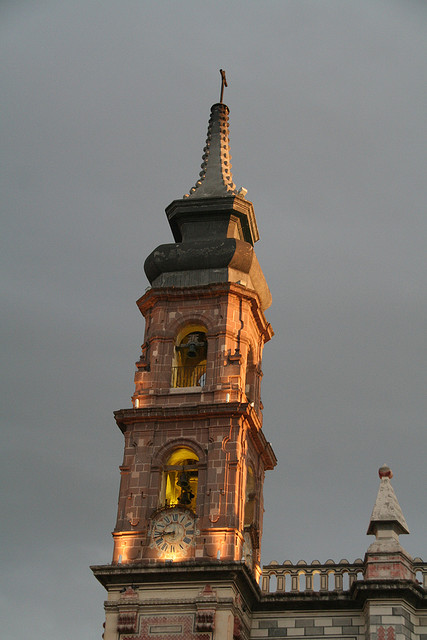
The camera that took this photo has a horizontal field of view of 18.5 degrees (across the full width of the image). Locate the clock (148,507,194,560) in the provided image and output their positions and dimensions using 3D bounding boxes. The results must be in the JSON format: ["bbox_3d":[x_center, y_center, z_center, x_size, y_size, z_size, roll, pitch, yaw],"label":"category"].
[{"bbox_3d":[-1.295,6.379,39.113,1.426,1.710,0.220,-3,-35,10],"label":"clock"}]

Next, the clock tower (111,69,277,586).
[{"bbox_3d":[-0.465,-0.411,44.909,4.788,20.566,3.841,8,-35,-5],"label":"clock tower"}]
